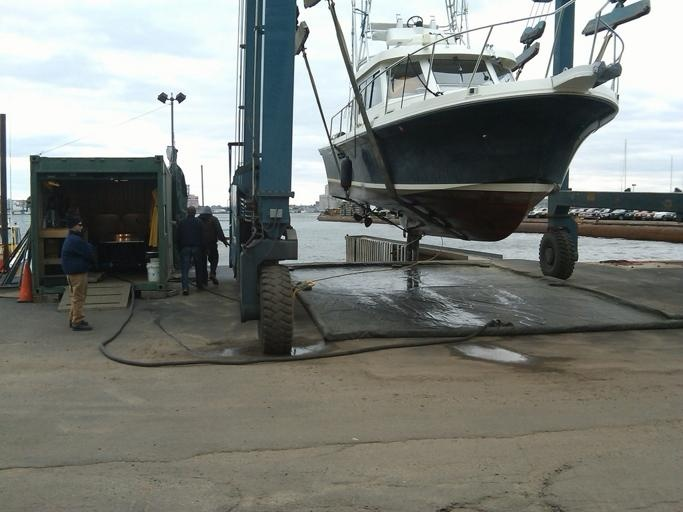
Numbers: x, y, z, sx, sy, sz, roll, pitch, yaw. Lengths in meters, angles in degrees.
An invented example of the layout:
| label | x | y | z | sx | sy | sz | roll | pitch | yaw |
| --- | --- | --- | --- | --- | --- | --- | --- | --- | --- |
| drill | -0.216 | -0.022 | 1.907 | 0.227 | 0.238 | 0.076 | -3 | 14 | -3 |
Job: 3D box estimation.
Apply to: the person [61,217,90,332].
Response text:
| label | x | y | z | sx | sy | sz | roll | pitch | yaw |
| --- | --- | --- | --- | --- | --- | --- | --- | --- | --- |
| person | -3.218 | 0.207 | 7.191 | 0.357 | 1.335 | 0.631 | -6 | 10 | -21 |

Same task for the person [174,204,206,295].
| label | x | y | z | sx | sy | sz | roll | pitch | yaw |
| --- | --- | --- | --- | --- | --- | --- | --- | --- | --- |
| person | -2.473 | -0.100 | 9.523 | 0.428 | 1.367 | 0.772 | 0 | 10 | 13 |

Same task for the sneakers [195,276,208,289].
| label | x | y | z | sx | sy | sz | roll | pitch | yaw |
| --- | --- | --- | --- | --- | --- | --- | --- | --- | --- |
| sneakers | -2.368 | 0.448 | 9.875 | 0.146 | 0.147 | 0.225 | 19 | -13 | -12 |

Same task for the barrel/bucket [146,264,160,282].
| label | x | y | z | sx | sy | sz | roll | pitch | yaw |
| --- | --- | --- | --- | --- | --- | --- | --- | --- | --- |
| barrel/bucket | -2.930 | 0.257 | 9.147 | 0.169 | 0.290 | 0.142 | -4 | 10 | -12 |

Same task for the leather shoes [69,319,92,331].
| label | x | y | z | sx | sy | sz | roll | pitch | yaw |
| --- | --- | --- | --- | --- | --- | --- | --- | --- | --- |
| leather shoes | -3.160 | 0.829 | 7.098 | 0.268 | 0.121 | 0.205 | -3 | 8 | -13 |
